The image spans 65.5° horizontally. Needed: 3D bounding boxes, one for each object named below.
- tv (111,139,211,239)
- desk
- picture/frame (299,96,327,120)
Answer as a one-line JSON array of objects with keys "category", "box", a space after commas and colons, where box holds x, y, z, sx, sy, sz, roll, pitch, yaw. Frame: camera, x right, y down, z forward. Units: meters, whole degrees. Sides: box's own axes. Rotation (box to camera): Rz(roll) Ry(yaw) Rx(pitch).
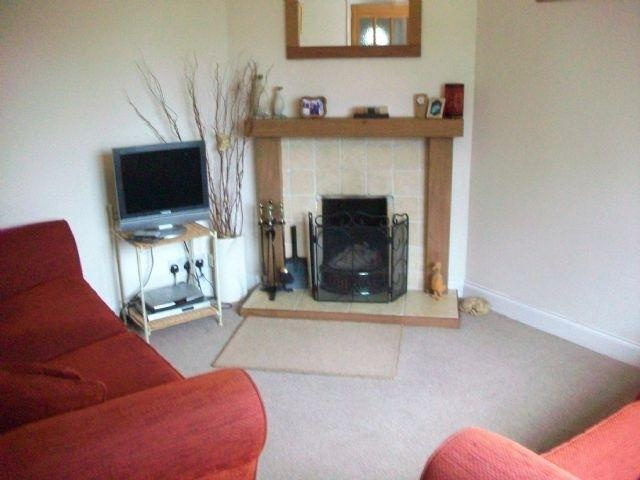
[{"category": "tv", "box": [-1.178, -0.362, 3.591, 0.610, 0.633, 0.221, -9, 15, -30]}, {"category": "desk", "box": [-1.084, 0.207, 3.795, 0.535, 0.916, 0.617, 17, -21, -29]}, {"category": "picture/frame", "box": [-0.060, -1.044, 3.953, 0.202, 0.187, 0.033, 0, 6, -1]}]
